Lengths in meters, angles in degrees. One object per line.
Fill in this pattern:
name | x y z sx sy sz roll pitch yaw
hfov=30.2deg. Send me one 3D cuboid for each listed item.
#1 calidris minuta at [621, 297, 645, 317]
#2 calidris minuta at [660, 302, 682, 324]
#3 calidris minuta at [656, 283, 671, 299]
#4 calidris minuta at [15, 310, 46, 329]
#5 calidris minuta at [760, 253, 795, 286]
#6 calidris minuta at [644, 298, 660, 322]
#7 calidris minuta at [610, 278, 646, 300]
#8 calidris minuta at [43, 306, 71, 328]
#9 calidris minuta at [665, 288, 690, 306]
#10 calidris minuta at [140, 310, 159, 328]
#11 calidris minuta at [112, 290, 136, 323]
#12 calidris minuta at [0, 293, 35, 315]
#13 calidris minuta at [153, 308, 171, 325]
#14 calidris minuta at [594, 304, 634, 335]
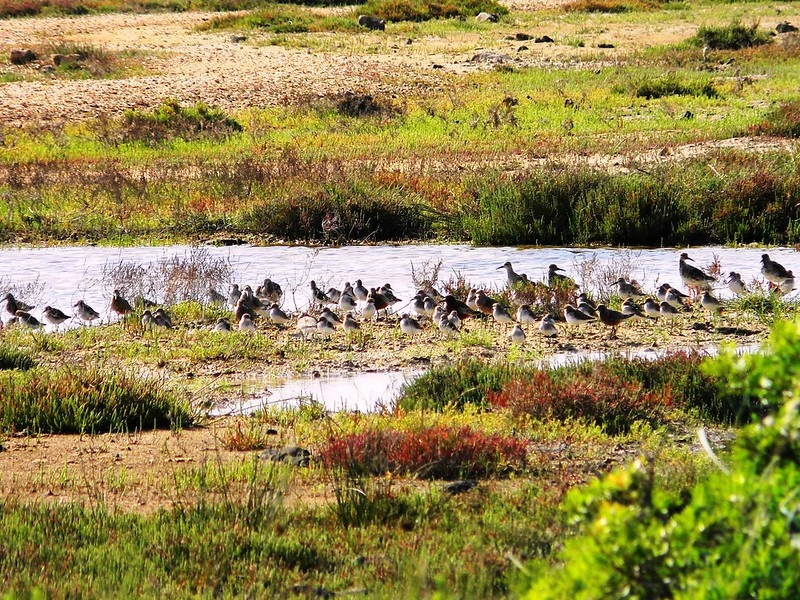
calidris minuta | 4.969 0.167 31.887 0.487 0.395 0.287 11 21 42
calidris minuta | 5.728 0.213 31.795 0.201 0.400 0.584 -15 8 37
calidris minuta | 5.686 -0.210 32.253 0.182 0.363 0.305 8 9 22
calidris minuta | -7.923 0.399 31.792 0.611 0.544 0.321 6 24 6
calidris minuta | 8.233 -0.642 32.561 0.656 0.760 0.409 2 21 16
calidris minuta | 5.411 0.182 31.948 0.336 0.506 0.352 -3 20 5
calidris minuta | 4.991 -0.259 32.643 0.635 0.511 0.352 -6 9 -19
calidris minuta | -7.401 0.329 31.727 0.603 0.475 0.299 -10 6 -43
calidris minuta | 5.971 -0.079 32.130 0.307 0.457 0.590 1 11 30
calidris minuta | -5.406 0.377 31.887 0.208 0.426 0.318 3 57 28
calidris minuta | -6.086 0.068 32.422 0.447 0.698 0.766 -9 22 -11
calidris minuta | -8.365 0.057 32.483 0.713 0.605 0.404 2 2 -4
calidris minuta | -5.158 0.365 32.068 0.215 0.209 0.426 -9 39 -40
calidris minuta | 4.530 0.394 31.585 0.747 0.777 0.752 2 22 17
